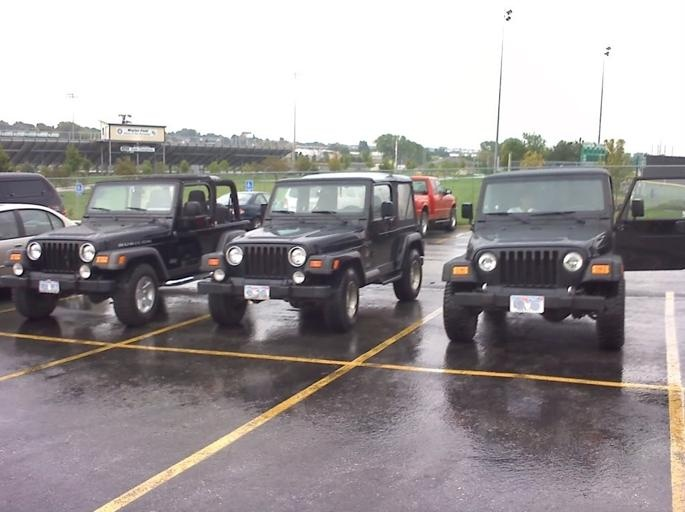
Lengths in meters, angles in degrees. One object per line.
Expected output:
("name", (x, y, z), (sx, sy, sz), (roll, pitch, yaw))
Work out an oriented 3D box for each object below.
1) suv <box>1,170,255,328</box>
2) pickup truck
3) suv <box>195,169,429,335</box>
("suv", (-3.639, -0.397, 11.111), (2.305, 2.135, 4.341), (3, 7, 27))
("pickup truck", (3.364, -2.144, 24.048), (1.678, 1.649, 3.438), (4, 12, 29))
("suv", (-0.307, -0.136, 9.943), (1.935, 2.462, 3.945), (5, 10, 35))
